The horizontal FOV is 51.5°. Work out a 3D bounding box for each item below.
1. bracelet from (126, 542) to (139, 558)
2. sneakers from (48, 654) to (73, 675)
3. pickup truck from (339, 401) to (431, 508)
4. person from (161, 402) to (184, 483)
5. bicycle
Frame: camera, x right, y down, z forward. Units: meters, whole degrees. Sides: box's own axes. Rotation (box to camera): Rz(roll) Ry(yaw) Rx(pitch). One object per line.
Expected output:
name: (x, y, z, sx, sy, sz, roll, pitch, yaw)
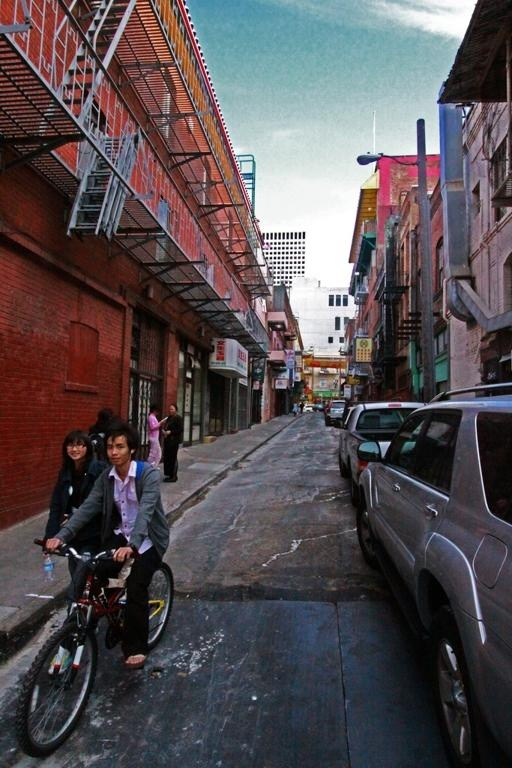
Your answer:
bracelet: (-0.661, 0.897, 2.858, 0.061, 0.033, 0.050, 6, 1, 2)
sneakers: (-0.917, 1.308, 2.492, 0.037, 0.091, 0.123, 3, -11, -1)
pickup truck: (1.961, 1.018, 8.582, 1.077, 1.155, 2.304, -1, -1, 1)
person: (-1.669, 1.129, 10.381, 0.435, 1.469, 0.394, -2, -6, 37)
bicycle: (-0.909, 1.279, 2.692, 0.255, 0.808, 0.961, 0, -1, 15)
